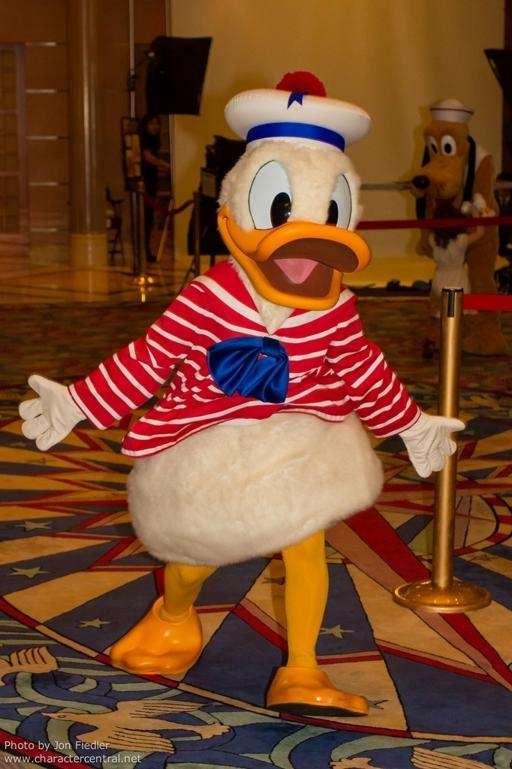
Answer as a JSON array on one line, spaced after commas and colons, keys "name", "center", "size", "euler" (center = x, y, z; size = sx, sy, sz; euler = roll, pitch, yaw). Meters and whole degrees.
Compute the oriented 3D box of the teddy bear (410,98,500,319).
[{"name": "teddy bear", "center": [1.358, -1.206, 4.990], "size": [0.717, 1.202, 0.583], "euler": [-5, 14, -7]}]
